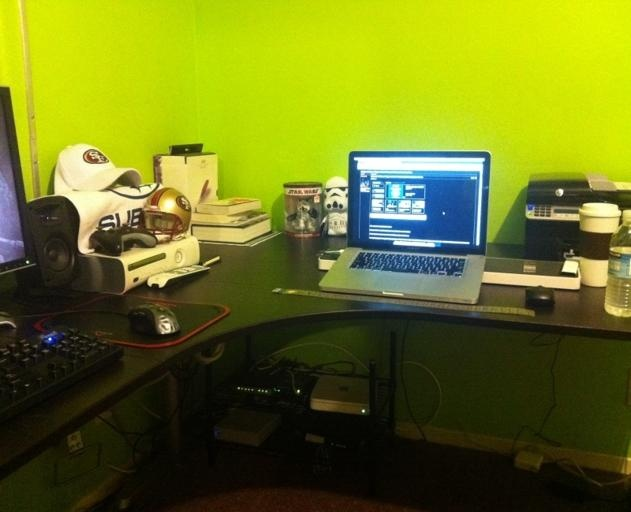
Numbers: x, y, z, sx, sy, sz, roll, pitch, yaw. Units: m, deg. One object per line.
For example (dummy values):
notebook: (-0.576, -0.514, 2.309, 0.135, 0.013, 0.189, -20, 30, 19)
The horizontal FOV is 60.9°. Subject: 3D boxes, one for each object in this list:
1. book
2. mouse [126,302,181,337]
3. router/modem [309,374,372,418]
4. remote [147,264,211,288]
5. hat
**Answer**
book: (-0.336, -0.189, 2.143, 0.184, 0.125, 0.251, 4, 12, 18)
mouse: (-0.377, 0.145, 1.285, 0.110, 0.042, 0.068, 9, 11, 30)
router/modem: (0.104, 0.537, 2.101, 0.227, 0.068, 0.226, 6, 19, 8)
remote: (-0.418, 0.055, 1.653, 0.073, 0.032, 0.219, 13, 21, 28)
hat: (-0.676, -0.270, 1.692, 0.224, 0.122, 0.165, 3, 17, 12)
